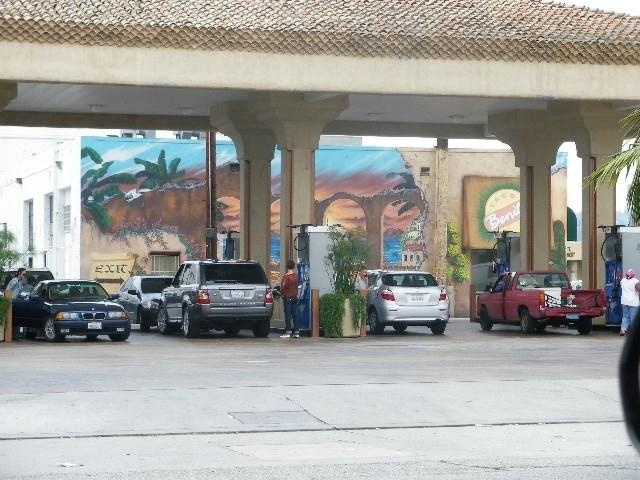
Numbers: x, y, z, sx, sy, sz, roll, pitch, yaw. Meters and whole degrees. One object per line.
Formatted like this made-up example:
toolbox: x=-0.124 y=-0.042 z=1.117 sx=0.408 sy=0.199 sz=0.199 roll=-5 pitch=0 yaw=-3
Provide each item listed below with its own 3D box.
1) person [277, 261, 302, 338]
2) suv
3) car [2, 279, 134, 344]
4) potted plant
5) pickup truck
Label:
person: x=-0.881 y=1.656 z=35.703 sx=0.602 sy=2.019 sz=0.476 roll=1 pitch=1 yaw=-18
suv: x=-2.852 y=1.506 z=34.719 sx=1.816 sy=1.864 sz=4.762 roll=0 pitch=-1 yaw=-27
car: x=-6.864 y=1.875 z=34.508 sx=3.370 sy=1.576 sz=1.897 roll=5 pitch=7 yaw=43
potted plant: x=0.637 y=1.160 z=35.851 sx=0.863 sy=3.438 sz=1.046 roll=-3 pitch=2 yaw=-25
pickup truck: x=6.693 y=1.876 z=39.196 sx=2.550 sy=1.678 sz=4.864 roll=2 pitch=-3 yaw=-20
